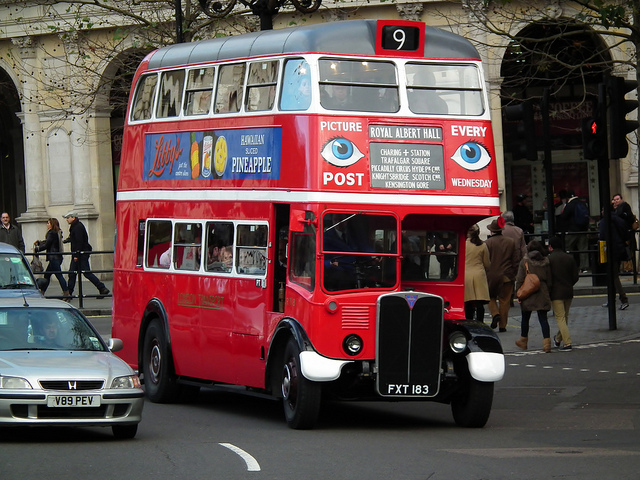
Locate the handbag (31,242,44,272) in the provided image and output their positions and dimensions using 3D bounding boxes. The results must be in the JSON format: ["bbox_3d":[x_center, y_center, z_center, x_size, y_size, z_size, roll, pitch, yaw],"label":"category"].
[{"bbox_3d":[-9.632,0.605,27.025,0.433,1.308,1.042,0,-6,-21],"label":"handbag"}]

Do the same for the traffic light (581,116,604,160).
[{"bbox_3d":[5.414,-2.010,15.721,0.387,0.814,0.350,-1,2,10],"label":"traffic light"}]

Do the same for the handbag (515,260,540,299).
[{"bbox_3d":[3.918,0.722,15.027,0.220,0.571,0.459,-24,5,-44],"label":"handbag"}]

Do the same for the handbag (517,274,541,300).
[{"bbox_3d":[3.957,0.895,14.999,0.341,0.356,0.190,-33,-26,27],"label":"handbag"}]

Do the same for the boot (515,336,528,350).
[{"bbox_3d":[3.964,2.014,15.580,0.149,0.287,0.300,-2,20,-15],"label":"boot"}]

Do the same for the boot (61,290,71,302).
[{"bbox_3d":[-7.777,1.730,24.375,0.197,0.346,0.545,-2,2,-16],"label":"boot"}]

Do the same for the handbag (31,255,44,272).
[{"bbox_3d":[-9.740,0.808,27.237,0.240,0.559,0.673,2,-5,-16],"label":"handbag"}]

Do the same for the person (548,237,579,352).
[{"bbox_3d":[4.658,1.057,15.241,0.522,2.207,0.523,-1,3,18],"label":"person"}]

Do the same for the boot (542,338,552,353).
[{"bbox_3d":[4.378,2.033,15.309,0.128,0.286,0.176,-1,2,12],"label":"boot"}]

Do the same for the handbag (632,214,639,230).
[{"bbox_3d":[9.701,-0.496,24.400,0.103,0.354,1.248,0,2,26],"label":"handbag"}]

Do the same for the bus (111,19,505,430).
[{"bbox_3d":[-0.682,-0.437,12.540,2.870,5.041,7.509,-3,6,-28],"label":"bus"}]
